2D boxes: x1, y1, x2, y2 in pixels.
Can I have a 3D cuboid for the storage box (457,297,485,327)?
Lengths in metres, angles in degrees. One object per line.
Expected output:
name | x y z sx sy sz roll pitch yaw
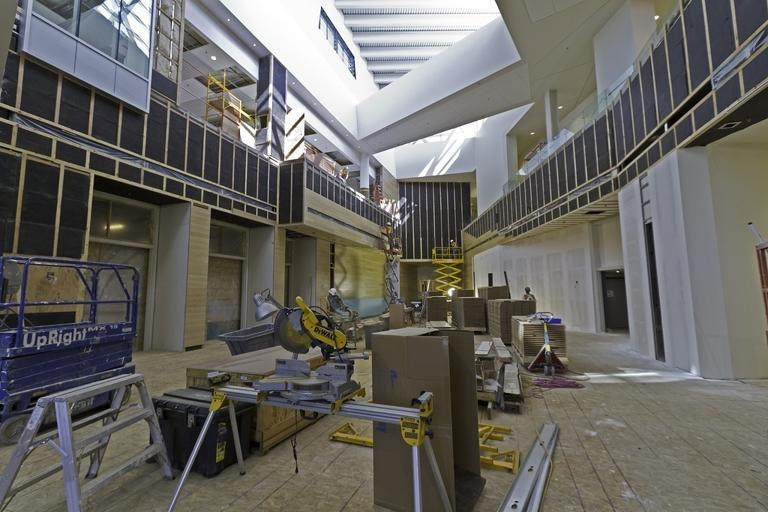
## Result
storage box | 3.088 1.781 16.177 0.796 1.120 1.508 -1 13 10

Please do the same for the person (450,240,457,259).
person | 4.559 -0.453 30.242 0.489 1.201 0.169 -3 -7 8

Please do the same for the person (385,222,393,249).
person | 0.220 -0.919 23.351 0.301 1.224 0.996 -3 -7 5

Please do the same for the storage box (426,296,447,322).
storage box | 1.894 1.891 16.686 0.985 0.768 1.382 0 -4 1

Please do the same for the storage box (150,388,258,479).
storage box | -2.724 2.627 6.968 1.414 1.191 0.546 -4 -8 11

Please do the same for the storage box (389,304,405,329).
storage box | 0.369 1.675 13.154 0.448 0.656 0.677 -2 -7 -2
